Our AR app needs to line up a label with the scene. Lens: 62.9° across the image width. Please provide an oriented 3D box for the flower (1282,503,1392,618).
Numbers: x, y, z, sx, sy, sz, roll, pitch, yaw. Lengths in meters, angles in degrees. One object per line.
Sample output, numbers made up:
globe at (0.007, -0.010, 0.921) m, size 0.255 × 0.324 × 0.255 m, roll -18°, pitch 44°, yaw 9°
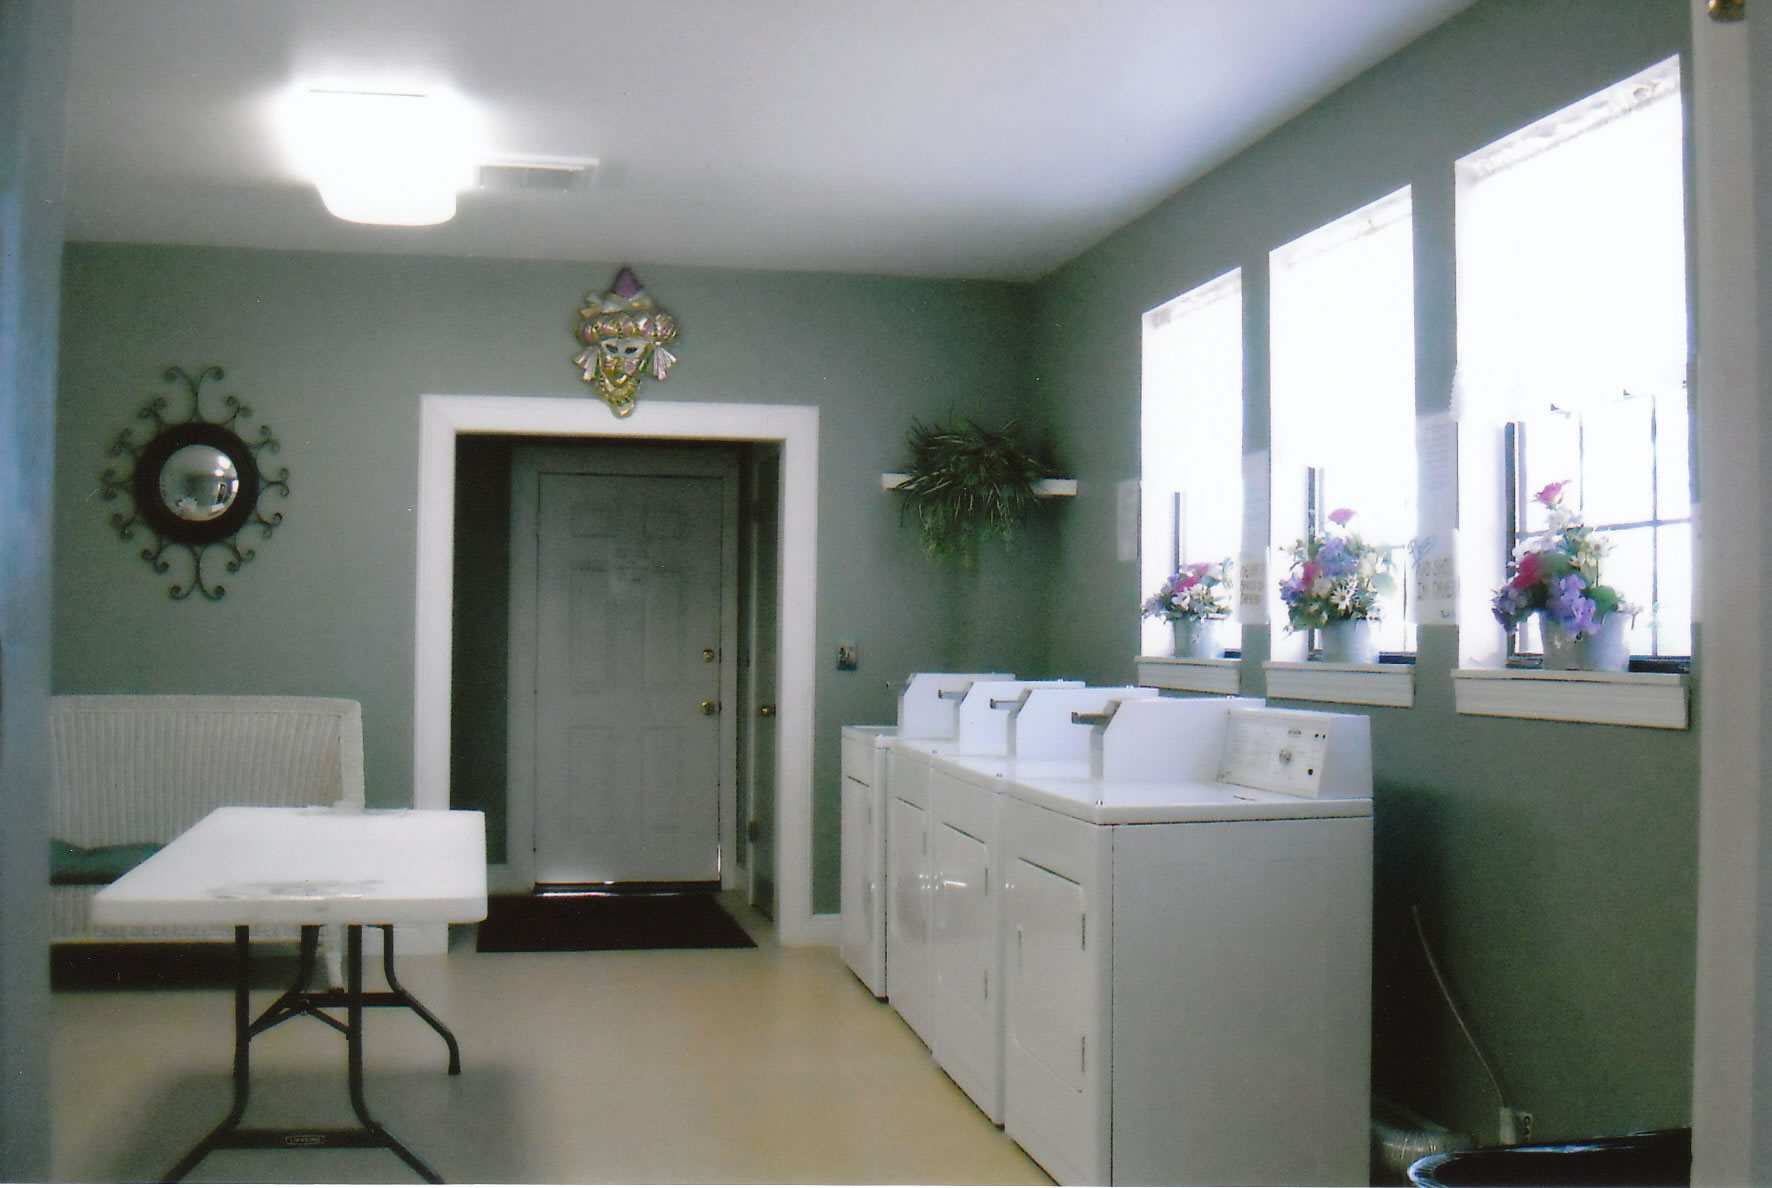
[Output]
flower at (1.419, -0.089, 4.682) m, size 0.246 × 0.380 × 0.375 m, roll 1°, pitch 5°, yaw -8°

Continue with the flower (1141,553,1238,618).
flower at (1.102, -0.022, 5.402) m, size 0.176 × 0.240 × 0.383 m, roll -2°, pitch 5°, yaw -32°

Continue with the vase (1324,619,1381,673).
vase at (1.480, 0.154, 4.613) m, size 0.144 × 0.102 × 0.142 m, roll 1°, pitch 0°, yaw -32°

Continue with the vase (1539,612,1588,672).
vase at (1.824, 0.140, 3.964) m, size 0.128 × 0.123 × 0.118 m, roll 1°, pitch -2°, yaw -5°

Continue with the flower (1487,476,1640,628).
flower at (1.827, -0.118, 3.969) m, size 0.385 × 0.485 × 0.362 m, roll 1°, pitch 5°, yaw -10°

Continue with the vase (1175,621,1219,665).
vase at (1.142, 0.172, 5.324) m, size 0.143 × 0.146 × 0.140 m, roll 3°, pitch -4°, yaw 3°

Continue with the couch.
couch at (-2.324, 0.819, 4.927) m, size 1.284 × 0.910 × 0.649 m, roll 2°, pitch -10°, yaw -20°

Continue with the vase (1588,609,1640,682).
vase at (1.932, 0.133, 3.901) m, size 0.146 × 0.230 × 0.152 m, roll 0°, pitch -2°, yaw 20°

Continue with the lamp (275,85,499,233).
lamp at (-1.712, -1.460, 4.930) m, size 0.647 × 0.410 × 0.520 m, roll 0°, pitch 5°, yaw -16°
